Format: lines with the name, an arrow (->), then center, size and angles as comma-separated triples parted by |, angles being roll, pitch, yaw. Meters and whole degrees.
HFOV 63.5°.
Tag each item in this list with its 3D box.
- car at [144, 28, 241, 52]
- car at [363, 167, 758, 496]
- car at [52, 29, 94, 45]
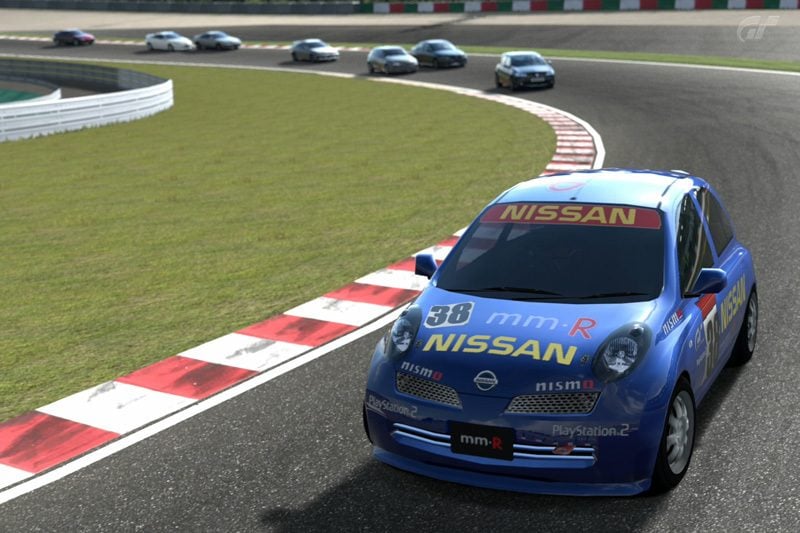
car -> -14.804, -15.821, 45.833 | 8.175, 1.250, 1.500 | 11, 28, 27
car -> 1.816, 0.184, 6.354 | 2.672, 1.858, 4.575 | 6, 20, 34
car -> -26.525, -18.383, 52.380 | 3.408, 1.122, 1.199 | 13, 29, 29
